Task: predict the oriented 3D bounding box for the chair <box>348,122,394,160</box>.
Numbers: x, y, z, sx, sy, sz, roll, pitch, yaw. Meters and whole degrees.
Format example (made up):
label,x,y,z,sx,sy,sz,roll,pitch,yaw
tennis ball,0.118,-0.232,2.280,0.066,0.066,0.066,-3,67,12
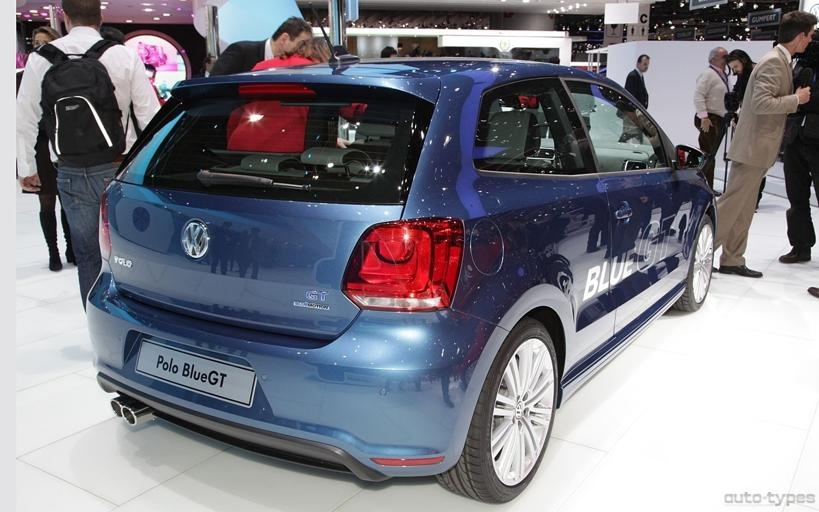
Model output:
label,x,y,z,sx,sy,sz,roll,pitch,yaw
chair,-0.152,-0.492,2.025,0.224,0.145,0.160,7,24,13
